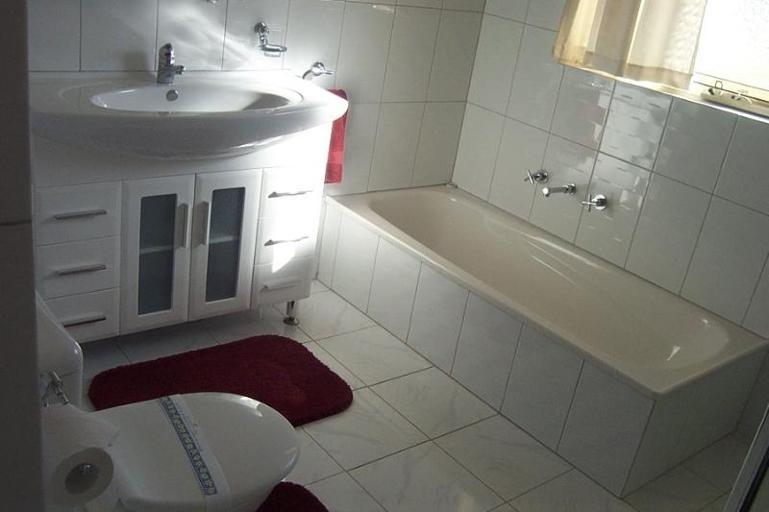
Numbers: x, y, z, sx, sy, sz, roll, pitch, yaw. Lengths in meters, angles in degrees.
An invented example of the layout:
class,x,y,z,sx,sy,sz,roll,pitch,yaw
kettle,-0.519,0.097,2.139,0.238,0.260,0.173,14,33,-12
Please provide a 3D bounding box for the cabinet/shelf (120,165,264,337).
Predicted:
class,x,y,z,sx,sy,sz,roll,pitch,yaw
cabinet/shelf,-0.867,-0.051,2.420,0.638,0.712,0.369,-11,30,-40

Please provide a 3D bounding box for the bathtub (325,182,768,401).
class,x,y,z,sx,sy,sz,roll,pitch,yaw
bathtub,0.785,0.137,2.863,2.018,0.483,0.824,23,35,37

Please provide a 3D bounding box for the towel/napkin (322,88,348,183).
class,x,y,z,sx,sy,sz,roll,pitch,yaw
towel/napkin,-0.263,-0.636,3.033,0.211,0.540,0.100,-19,34,-33
